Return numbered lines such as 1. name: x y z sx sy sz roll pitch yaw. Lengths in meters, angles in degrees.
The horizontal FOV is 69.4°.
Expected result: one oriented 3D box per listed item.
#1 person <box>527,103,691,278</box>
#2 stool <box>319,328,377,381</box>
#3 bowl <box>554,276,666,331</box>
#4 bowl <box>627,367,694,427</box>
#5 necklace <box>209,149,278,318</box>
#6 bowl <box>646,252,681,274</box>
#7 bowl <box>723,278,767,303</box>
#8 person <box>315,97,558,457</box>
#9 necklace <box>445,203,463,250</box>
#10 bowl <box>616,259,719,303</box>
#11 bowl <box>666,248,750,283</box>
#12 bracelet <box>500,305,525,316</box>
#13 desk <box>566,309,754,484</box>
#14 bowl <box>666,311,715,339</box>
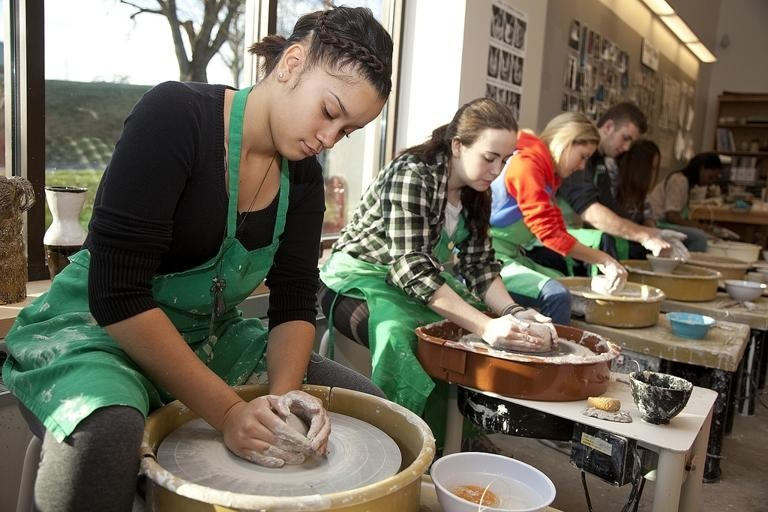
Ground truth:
1. person: 1.468 -0.474 3.948 1.138 1.325 0.856 13 4 32
2. stool: -0.148 0.393 2.280 0.135 0.112 0.194 27 -8 7
3. bowl: 1.144 0.233 2.632 0.307 0.122 0.298 1 11 0
4. bowl: 0.904 0.467 1.824 0.190 0.135 0.153 5 7 -3
5. necklace: -0.430 -0.071 1.682 0.098 0.475 0.242 12 -3 30
6. bowl: 1.625 0.041 3.254 0.126 0.094 0.132 6 -4 0
7. bowl: 2.078 0.190 3.191 0.141 0.075 0.153 0 5 0
8. person: 0.331 -0.012 3.218 1.298 2.246 1.079 7 0 28
9. necklace: 0.299 -0.143 2.488 0.051 0.174 0.112 7 5 43
10. bowl: 1.633 0.146 3.143 0.369 0.114 0.371 0 8 0
11. bowl: 2.196 0.053 3.680 0.294 0.130 0.300 0 3 0
12. bracelet: 0.541 0.219 2.331 0.056 0.031 0.065 -7 7 -12
13. desk: 1.339 0.490 2.725 0.686 0.601 0.745 8 16 30
14. bowl: 1.408 0.306 2.535 0.139 0.068 0.144 -4 12 1
